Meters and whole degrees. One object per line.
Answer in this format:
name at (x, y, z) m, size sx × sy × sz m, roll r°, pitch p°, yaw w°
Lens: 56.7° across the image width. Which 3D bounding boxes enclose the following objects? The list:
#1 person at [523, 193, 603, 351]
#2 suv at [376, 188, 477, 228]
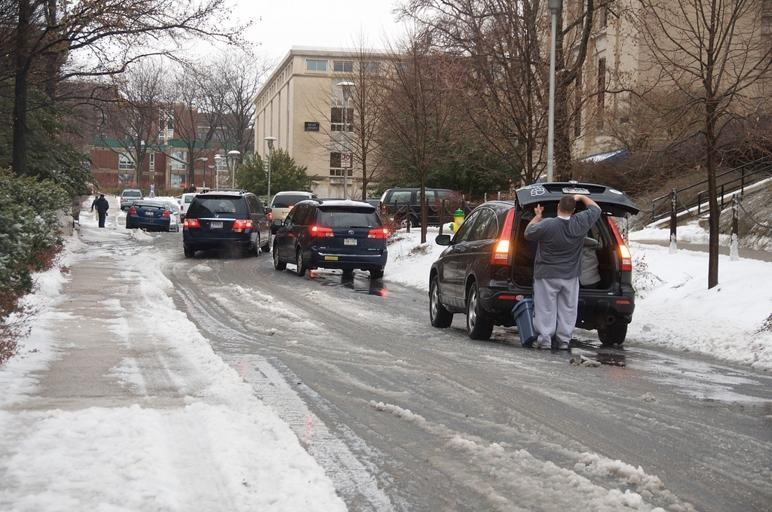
person at (2.662, 0.250, 11.016) m, size 0.994 × 2.388 × 0.480 m, roll 4°, pitch 3°, yaw 10°
suv at (2.182, -2.482, 36.351) m, size 4.489 × 1.740 × 2.069 m, roll -2°, pitch 5°, yaw -4°
